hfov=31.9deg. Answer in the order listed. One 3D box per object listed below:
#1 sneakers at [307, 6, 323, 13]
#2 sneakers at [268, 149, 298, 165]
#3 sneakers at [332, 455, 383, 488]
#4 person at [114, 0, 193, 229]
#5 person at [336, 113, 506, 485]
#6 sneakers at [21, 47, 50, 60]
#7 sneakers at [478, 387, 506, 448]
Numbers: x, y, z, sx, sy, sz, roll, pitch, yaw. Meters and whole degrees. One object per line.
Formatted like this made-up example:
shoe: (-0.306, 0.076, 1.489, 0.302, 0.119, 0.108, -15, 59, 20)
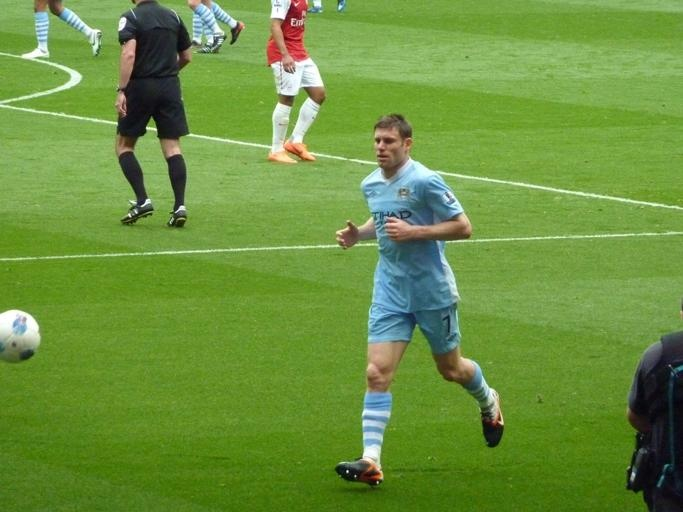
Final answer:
sneakers: (-0.695, -6.147, 29.738, 0.420, 0.169, 0.217, 2, -4, 24)
sneakers: (-0.758, -1.284, 15.524, 0.325, 0.113, 0.187, 3, 7, 34)
sneakers: (0.115, 1.356, 7.462, 0.363, 0.119, 0.146, 13, 49, -20)
person: (-1.933, -1.483, 12.419, 0.804, 2.338, 0.878, 4, 12, -8)
person: (0.492, 0.241, 7.825, 1.219, 2.293, 1.098, 1, 13, -20)
sneakers: (-5.765, -3.845, 22.635, 0.615, 0.202, 0.200, -1, 5, -12)
sneakers: (1.034, 1.089, 7.991, 0.147, 0.372, 0.166, -6, 4, 24)
